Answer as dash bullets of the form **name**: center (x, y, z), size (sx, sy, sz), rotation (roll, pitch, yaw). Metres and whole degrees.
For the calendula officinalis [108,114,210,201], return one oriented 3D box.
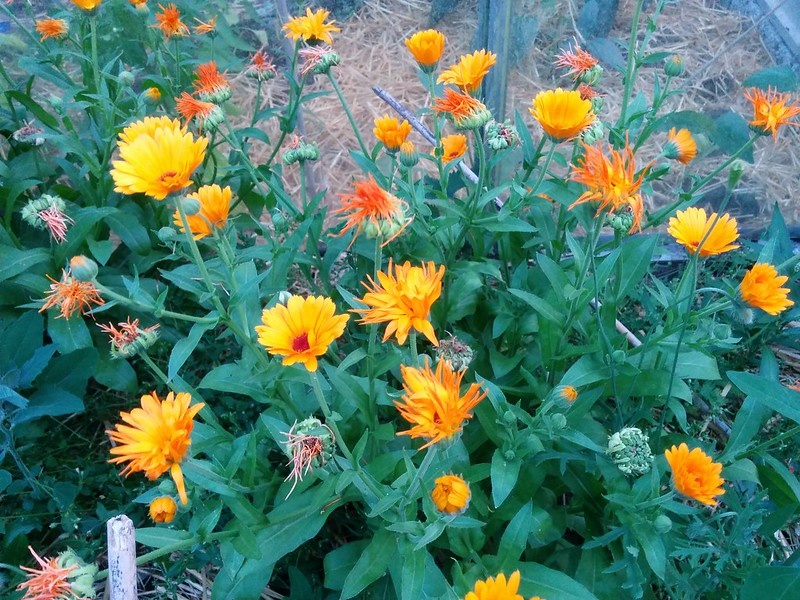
- **calendula officinalis**: center (-0.702, -0.438, 1.923), size (0.230, 0.127, 0.233), rotation (-7, -9, 4)

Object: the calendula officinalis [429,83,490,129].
- **calendula officinalis**: center (0.209, -0.657, 2.224), size (0.175, 0.157, 0.095), rotation (-6, -42, 31)

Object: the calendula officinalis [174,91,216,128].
- **calendula officinalis**: center (-0.846, -0.781, 2.611), size (0.174, 0.148, 0.099), rotation (-7, 0, 3)

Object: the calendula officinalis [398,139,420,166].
- **calendula officinalis**: center (0.031, -0.529, 2.279), size (0.078, 0.120, 0.079), rotation (-8, 12, -11)

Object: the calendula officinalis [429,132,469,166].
- **calendula officinalis**: center (0.210, -0.611, 2.539), size (0.138, 0.151, 0.058), rotation (13, -11, 29)

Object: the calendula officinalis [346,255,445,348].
- **calendula officinalis**: center (0.003, -0.004, 1.791), size (0.210, 0.263, 0.259), rotation (8, -12, -1)

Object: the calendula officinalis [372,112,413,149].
- **calendula officinalis**: center (-0.023, -0.619, 2.390), size (0.144, 0.125, 0.105), rotation (44, -20, 38)

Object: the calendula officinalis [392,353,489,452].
- **calendula officinalis**: center (0.102, 0.283, 1.709), size (0.217, 0.241, 0.215), rotation (6, -12, 7)

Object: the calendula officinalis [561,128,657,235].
- **calendula officinalis**: center (0.676, -0.416, 2.048), size (0.224, 0.341, 0.388), rotation (4, -13, 18)

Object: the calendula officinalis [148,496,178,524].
- **calendula officinalis**: center (-0.695, 0.616, 1.864), size (0.065, 0.084, 0.080), rotation (6, -16, -9)

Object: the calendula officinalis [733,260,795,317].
- **calendula officinalis**: center (1.177, -0.013, 2.048), size (0.167, 0.162, 0.097), rotation (42, -11, 3)

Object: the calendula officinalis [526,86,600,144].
- **calendula officinalis**: center (0.539, -0.597, 2.025), size (0.167, 0.186, 0.096), rotation (4, 0, 5)

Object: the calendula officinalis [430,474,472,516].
- **calendula officinalis**: center (0.156, 0.533, 1.806), size (0.109, 0.099, 0.073), rotation (41, 28, -4)
